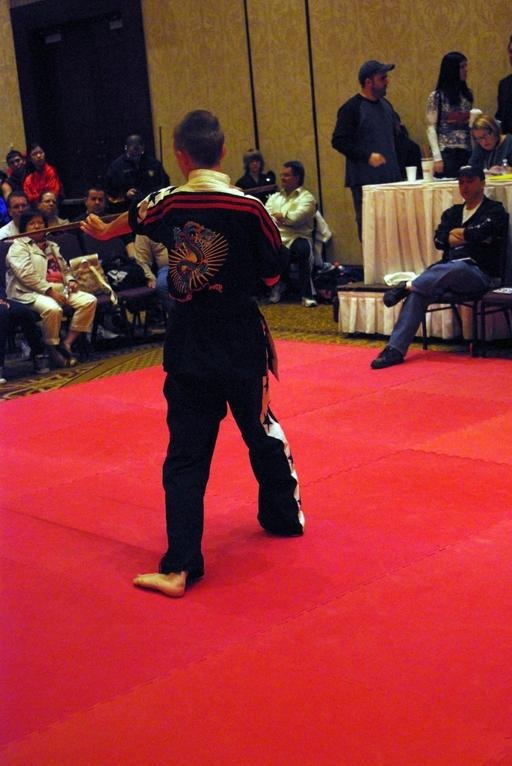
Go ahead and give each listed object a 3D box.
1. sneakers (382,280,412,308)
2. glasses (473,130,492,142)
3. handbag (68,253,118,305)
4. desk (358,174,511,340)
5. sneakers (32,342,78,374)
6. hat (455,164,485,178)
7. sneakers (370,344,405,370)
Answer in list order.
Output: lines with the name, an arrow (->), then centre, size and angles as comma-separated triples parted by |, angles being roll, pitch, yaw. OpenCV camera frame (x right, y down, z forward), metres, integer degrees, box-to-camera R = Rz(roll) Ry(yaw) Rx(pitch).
sneakers -> 1.336, -0.858, 6.091 | 0.157, 0.131, 0.365 | -14, -6, -3
glasses -> 2.410, -2.635, 6.728 | 0.195, 0.075, 0.142 | -35, 19, -31
handbag -> -2.026, -1.296, 7.665 | 0.483, 0.518, 0.465 | -10, 36, -6
desk -> 1.816, -1.260, 6.302 | 1.739, 1.573, 1.033 | 5, 14, 33
sneakers -> -2.278, -0.285, 7.070 | 0.706, 0.262, 0.218 | -4, 4, 32
hat -> 1.992, -1.973, 5.880 | 0.152, 0.153, 0.282 | 0, 10, 42
sneakers -> 1.203, -0.232, 5.833 | 0.430, 0.174, 0.141 | -1, -1, -42
